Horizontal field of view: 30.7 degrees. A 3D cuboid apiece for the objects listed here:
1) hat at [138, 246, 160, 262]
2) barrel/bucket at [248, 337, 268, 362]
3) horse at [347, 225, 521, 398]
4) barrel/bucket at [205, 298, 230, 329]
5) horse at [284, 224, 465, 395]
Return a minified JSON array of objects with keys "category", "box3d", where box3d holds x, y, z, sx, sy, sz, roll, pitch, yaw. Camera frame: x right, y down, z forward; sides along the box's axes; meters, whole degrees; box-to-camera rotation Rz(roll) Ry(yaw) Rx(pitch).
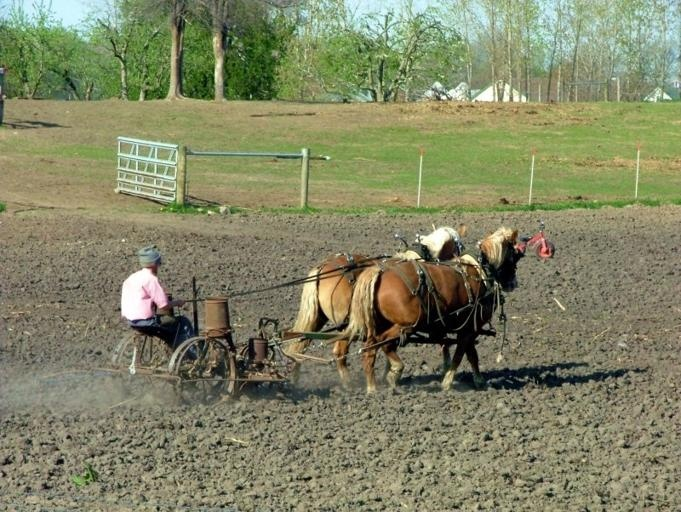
[{"category":"hat","box3d":[-4.084,0.013,26.142,0.409,0.249,0.364,-7,11,28]},{"category":"barrel/bucket","box3d":[-1.759,1.994,26.250,0.469,0.483,0.461,0,-4,0]},{"category":"horse","box3d":[2.047,1.226,27.191,4.777,3.762,1.681,-4,7,-34]},{"category":"barrel/bucket","box3d":[-2.545,1.230,26.407,0.614,0.637,0.600,0,-2,0]},{"category":"horse","box3d":[1.175,1.224,28.015,5.730,3.512,1.387,-4,-6,-35]}]
